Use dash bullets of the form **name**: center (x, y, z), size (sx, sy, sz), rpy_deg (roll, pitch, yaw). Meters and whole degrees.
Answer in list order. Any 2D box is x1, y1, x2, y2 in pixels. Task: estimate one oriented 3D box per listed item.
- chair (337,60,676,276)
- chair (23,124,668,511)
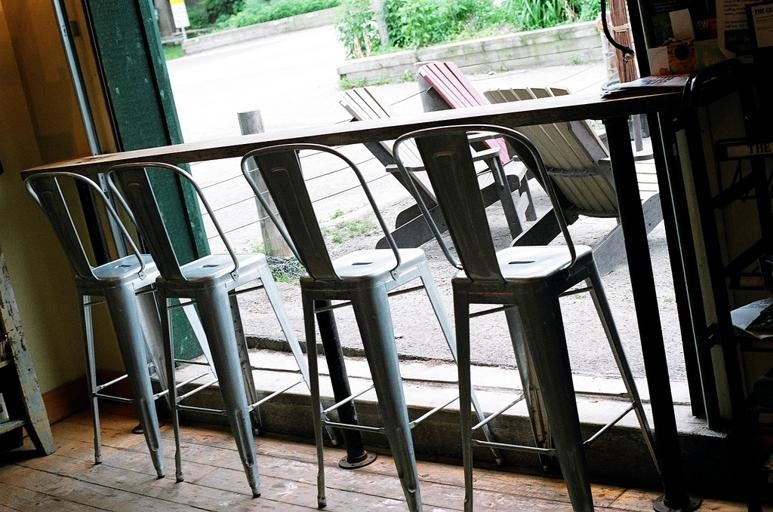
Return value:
- **chair**: center (1.103, -0.697, 4.797), size (2.672, 1.414, 1.625), rpy_deg (-7, 20, 2)
- **chair**: center (-0.293, 0.355, 3.194), size (2.671, 1.537, 0.885), rpy_deg (4, 19, 26)
